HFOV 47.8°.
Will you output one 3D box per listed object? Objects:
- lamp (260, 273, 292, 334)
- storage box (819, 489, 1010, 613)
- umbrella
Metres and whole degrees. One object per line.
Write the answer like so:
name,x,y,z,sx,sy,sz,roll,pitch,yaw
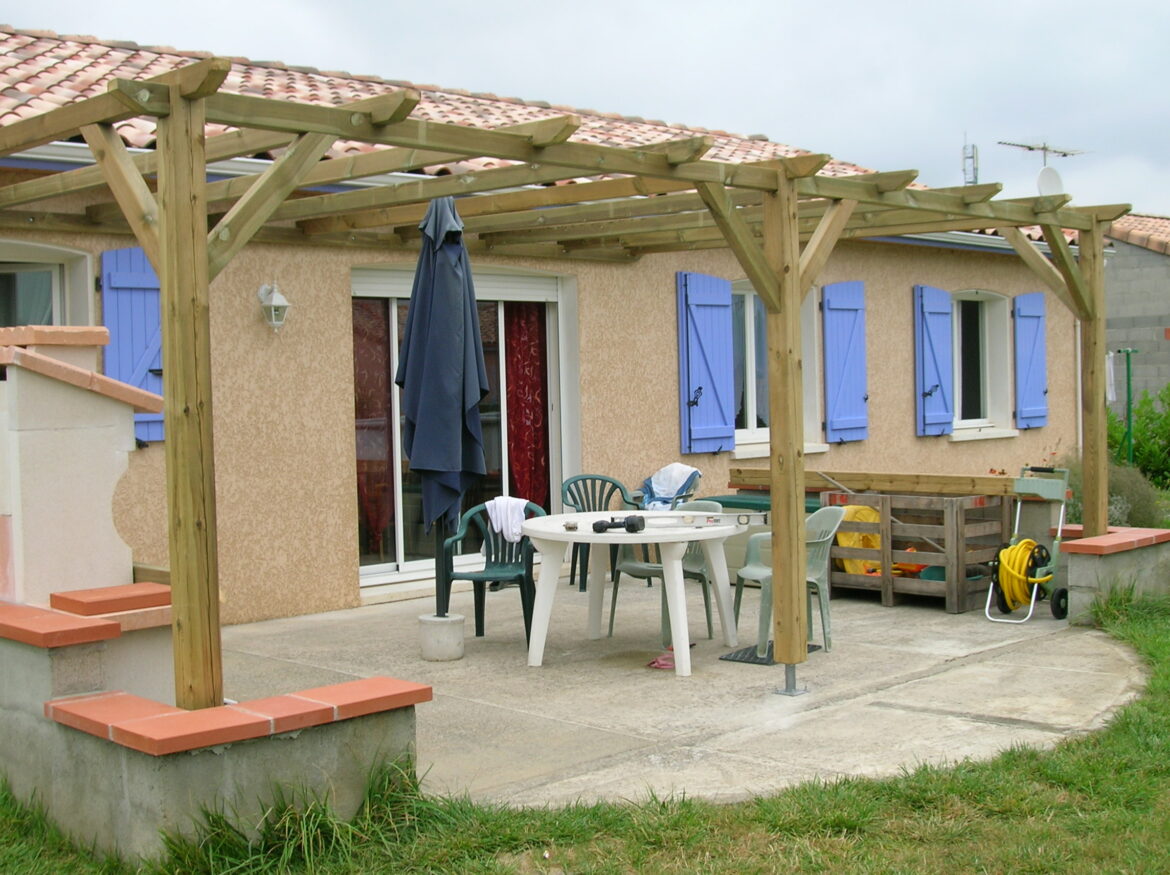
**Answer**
lamp,-2.226,-0.965,9.633,0.273,0.353,0.145,-6,8,-41
storage box,2.434,0.826,9.808,1.339,0.842,0.681,1,6,18
umbrella,-0.893,-0.453,8.232,0.537,2.093,0.373,-2,6,-8
